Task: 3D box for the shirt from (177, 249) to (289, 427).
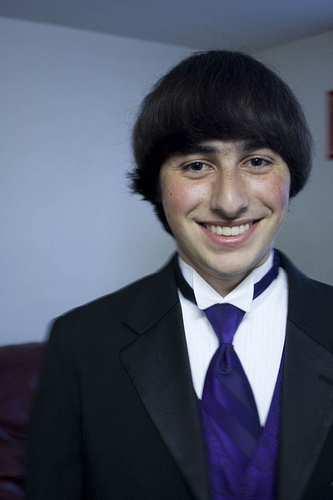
[{"bbox_3d":[0.154,0.175,1.162,0.260,0.291,0.352,-7,19,11],"label":"shirt"}]
